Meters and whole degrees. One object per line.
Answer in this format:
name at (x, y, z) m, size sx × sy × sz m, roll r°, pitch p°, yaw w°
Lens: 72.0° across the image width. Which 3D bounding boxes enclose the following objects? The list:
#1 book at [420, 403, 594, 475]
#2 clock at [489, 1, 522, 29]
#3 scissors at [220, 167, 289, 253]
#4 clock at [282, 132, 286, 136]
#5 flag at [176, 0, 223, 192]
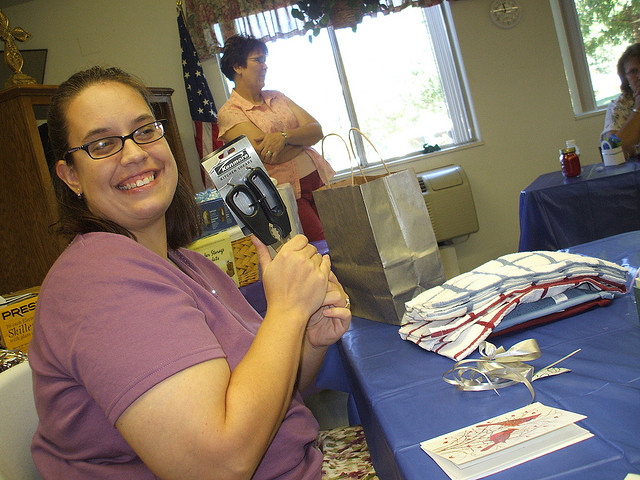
book at (0.269, 0.256, 0.643) m, size 0.174 × 0.027 × 0.101 m, roll -17°, pitch 17°, yaw -14°
clock at (1.615, -1.933, 3.774) m, size 0.280 × 0.235 × 0.040 m, roll -16°, pitch 8°, yaw -8°
scissors at (-0.141, -0.045, 0.976) m, size 0.108 × 0.214 × 0.034 m, roll -39°, pitch 15°, yaw -31°
clock at (-0.214, -0.632, 2.646) m, size 0.031 × 0.017 × 0.029 m, roll -3°, pitch 1°, yaw -36°
flag at (-0.971, -1.201, 3.319) m, size 0.212 × 1.105 × 0.307 m, roll -14°, pitch 8°, yaw -2°
